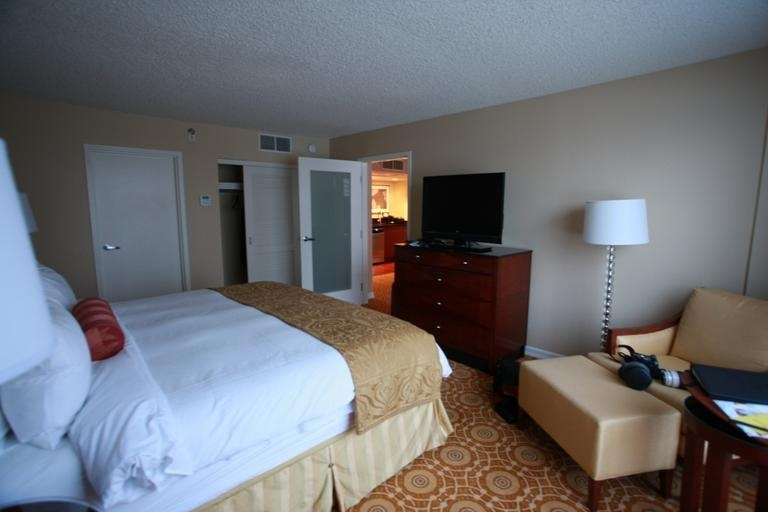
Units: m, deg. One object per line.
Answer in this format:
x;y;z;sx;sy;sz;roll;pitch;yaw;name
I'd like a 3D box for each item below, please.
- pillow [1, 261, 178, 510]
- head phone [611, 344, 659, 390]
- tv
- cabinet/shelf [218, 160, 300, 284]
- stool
-1.765;0.849;3.045;0.589;0.570;1.558;-12;24;-35;pillow
1.963;0.872;3.910;0.245;0.177;0.420;26;33;13;head phone
0.879;-0.467;5.378;0.890;0.641;0.128;8;12;44;tv
-1.787;-0.434;7.279;1.212;1.775;0.752;0;9;2;cabinet/shelf
1.569;1.184;3.875;0.874;0.763;1.277;-1;5;-15;stool
